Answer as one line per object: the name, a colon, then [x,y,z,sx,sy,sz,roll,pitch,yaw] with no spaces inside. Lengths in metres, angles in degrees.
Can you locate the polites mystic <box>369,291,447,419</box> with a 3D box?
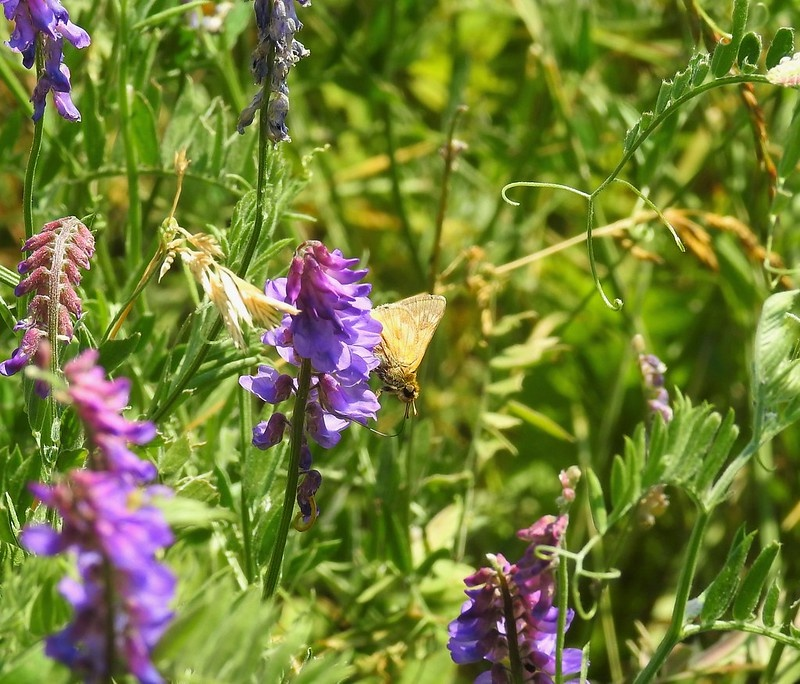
polites mystic: [0.012,0.001,1.569,0.107,0.192,0.109,-5,16,-16]

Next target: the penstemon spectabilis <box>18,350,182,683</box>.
penstemon spectabilis: [-0.258,0.170,0.924,0.126,0.334,0.141,4,5,22]

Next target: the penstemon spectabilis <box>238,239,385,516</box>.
penstemon spectabilis: [-0.117,0.015,1.258,0.124,0.389,0.146,0,9,3]
